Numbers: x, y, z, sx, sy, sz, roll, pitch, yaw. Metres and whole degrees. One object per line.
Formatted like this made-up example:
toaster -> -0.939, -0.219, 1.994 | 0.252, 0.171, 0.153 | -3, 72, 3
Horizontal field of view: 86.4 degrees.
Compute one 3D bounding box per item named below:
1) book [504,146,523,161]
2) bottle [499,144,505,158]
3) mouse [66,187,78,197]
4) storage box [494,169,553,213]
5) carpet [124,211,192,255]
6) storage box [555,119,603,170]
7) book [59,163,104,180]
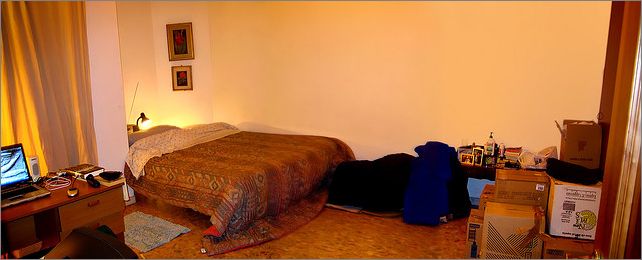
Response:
book -> 3.702, 0.440, 6.632 | 0.318, 0.104, 0.291 | 5, 19, 25
bottle -> 3.493, 0.401, 6.629 | 0.107, 0.250, 0.142 | 4, 11, 20
mouse -> -4.033, 1.011, 5.569 | 0.170, 0.105, 0.143 | -2, 9, -12
storage box -> 3.397, 1.009, 5.814 | 0.799, 0.360, 0.725 | 3, 7, 26
carpet -> -3.240, 1.927, 6.447 | 1.089, 0.042, 0.678 | 12, 20, 27
storage box -> 4.450, 0.269, 5.825 | 0.556, 0.734, 0.193 | 3, 12, 15
book -> -4.108, 0.699, 5.881 | 0.420, 0.073, 0.376 | 5, 7, 30
